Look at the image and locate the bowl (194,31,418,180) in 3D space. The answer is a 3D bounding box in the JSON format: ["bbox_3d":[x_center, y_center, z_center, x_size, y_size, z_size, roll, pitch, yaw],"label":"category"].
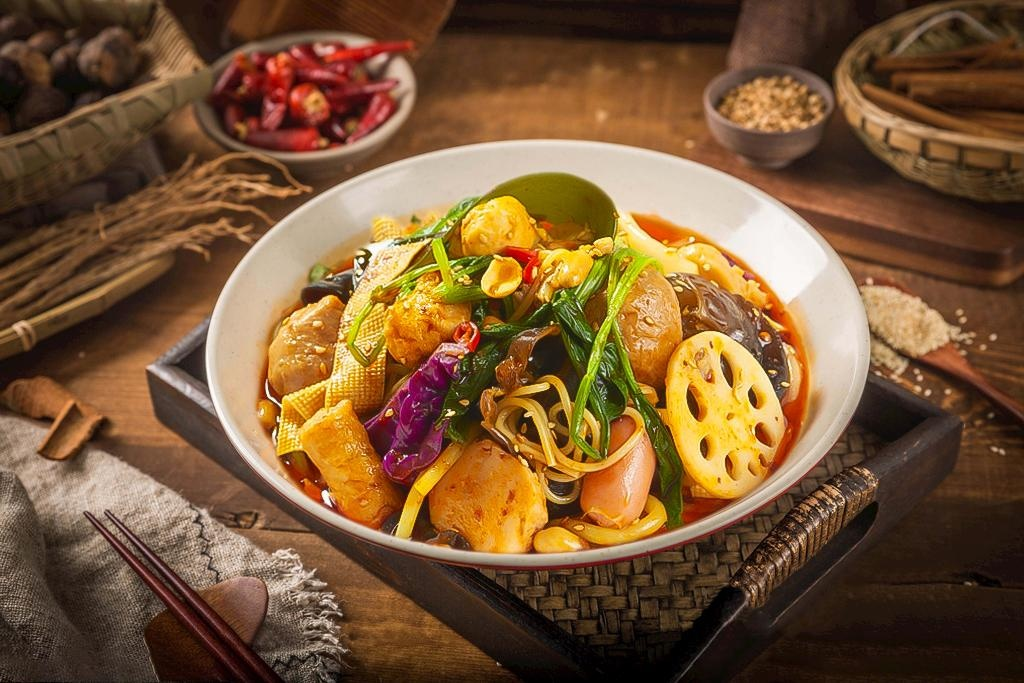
[{"bbox_3d":[-0.619,-0.740,2.997,0.614,0.283,0.610,-5,49,6],"label":"bowl"}]
